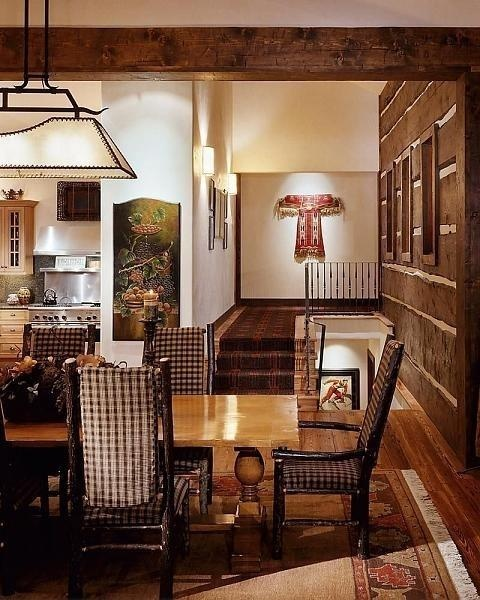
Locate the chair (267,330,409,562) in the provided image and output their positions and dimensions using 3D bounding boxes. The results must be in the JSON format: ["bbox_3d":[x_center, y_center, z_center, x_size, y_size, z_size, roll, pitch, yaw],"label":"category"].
[{"bbox_3d":[0.417,0.639,2.800,0.725,1.391,0.777,1,-1,4],"label":"chair"}]

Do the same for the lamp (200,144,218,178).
[{"bbox_3d":[-0.367,-1.560,6.045,0.248,0.527,0.344,0,4,-3],"label":"lamp"}]

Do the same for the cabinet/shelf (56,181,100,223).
[{"bbox_3d":[-2.333,-1.399,7.397,0.677,0.615,0.185,0,3,-3],"label":"cabinet/shelf"}]

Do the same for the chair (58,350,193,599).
[{"bbox_3d":[-0.427,0.662,1.981,0.461,0.952,0.692,0,0,-7],"label":"chair"}]

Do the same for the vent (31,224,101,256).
[{"bbox_3d":[-2.499,-0.884,7.363,0.808,0.548,0.420,0,-3,-3],"label":"vent"}]

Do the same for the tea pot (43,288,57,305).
[{"bbox_3d":[-2.705,-0.050,7.469,0.230,0.297,0.190,0,4,-9],"label":"tea pot"}]

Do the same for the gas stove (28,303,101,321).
[{"bbox_3d":[-2.370,0.174,7.197,1.038,0.234,0.402,0,0,10],"label":"gas stove"}]
